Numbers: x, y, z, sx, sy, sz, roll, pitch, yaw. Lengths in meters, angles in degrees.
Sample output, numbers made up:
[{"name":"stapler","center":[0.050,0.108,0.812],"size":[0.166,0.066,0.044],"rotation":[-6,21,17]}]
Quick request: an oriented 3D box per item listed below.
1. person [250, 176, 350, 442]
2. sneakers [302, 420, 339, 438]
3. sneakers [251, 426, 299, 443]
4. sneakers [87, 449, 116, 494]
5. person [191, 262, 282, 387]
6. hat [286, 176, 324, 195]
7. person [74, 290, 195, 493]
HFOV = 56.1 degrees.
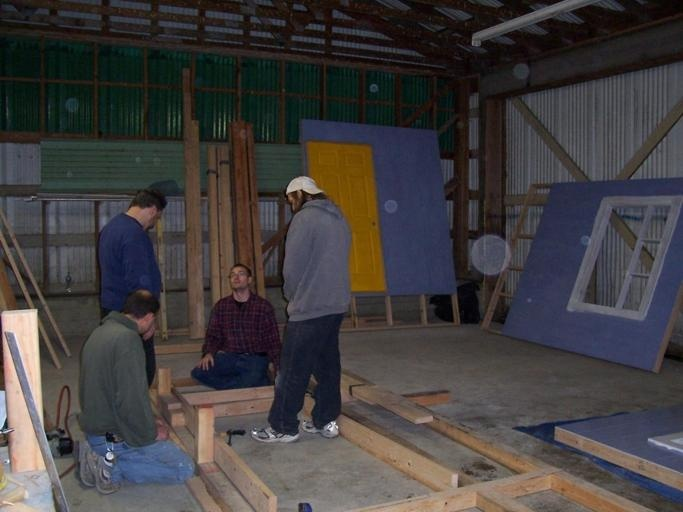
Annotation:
[{"name":"person","center":[-0.272,0.449,5.042],"size":[0.703,2.117,0.349],"rotation":[0,7,-8]},{"name":"sneakers","center":[-0.168,1.424,5.326],"size":[0.315,0.150,0.126],"rotation":[6,-4,32]},{"name":"sneakers","center":[-0.554,1.450,5.172],"size":[0.395,0.187,0.147],"rotation":[8,-15,-6]},{"name":"sneakers","center":[-1.652,1.483,4.468],"size":[0.112,0.273,0.262],"rotation":[-2,6,-21]},{"name":"person","center":[-0.958,0.664,5.947],"size":[0.867,1.183,0.694],"rotation":[-2,6,-1]},{"name":"hat","center":[-0.299,-0.533,5.080],"size":[0.266,0.146,0.188],"rotation":[-1,5,21]},{"name":"person","center":[-1.475,0.944,4.535],"size":[0.744,1.369,0.416],"rotation":[-1,7,-17]}]
